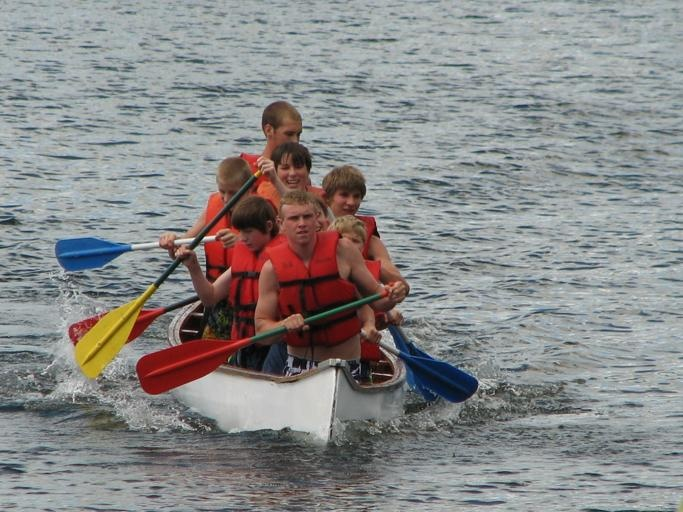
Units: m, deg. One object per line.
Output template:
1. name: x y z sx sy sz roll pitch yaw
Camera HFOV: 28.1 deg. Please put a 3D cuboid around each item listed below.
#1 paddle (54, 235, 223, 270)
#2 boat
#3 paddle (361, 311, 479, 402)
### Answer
1. paddle: -2.776 -0.165 18.860 0.121 0.456 2.864 -23 -10 41
2. boat: -0.618 1.397 16.590 2.524 0.909 3.728 0 2 -22
3. paddle: 1.050 1.328 17.331 2.014 0.600 0.224 31 31 6
